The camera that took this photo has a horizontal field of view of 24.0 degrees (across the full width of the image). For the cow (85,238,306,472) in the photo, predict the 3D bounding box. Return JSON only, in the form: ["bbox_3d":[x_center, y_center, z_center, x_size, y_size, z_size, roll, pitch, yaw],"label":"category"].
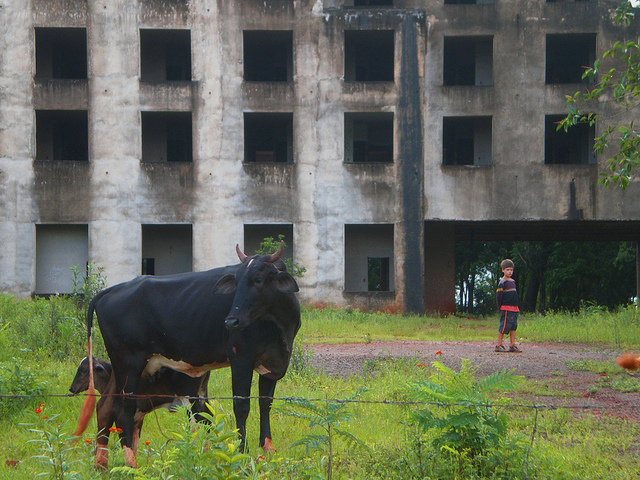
[{"bbox_3d":[-4.376,4.122,52.294,7.418,7.759,3.220,1,-2,-10],"label":"cow"}]
